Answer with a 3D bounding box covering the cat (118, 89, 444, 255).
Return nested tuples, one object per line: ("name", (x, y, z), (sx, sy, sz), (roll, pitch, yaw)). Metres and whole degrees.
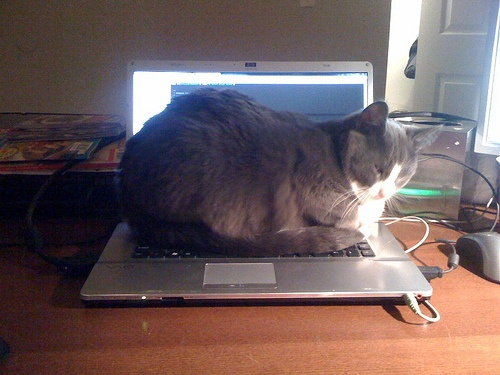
("cat", (0.040, -0.046, 0.804), (0.498, 0.203, 0.298), (1, 16, -3))
